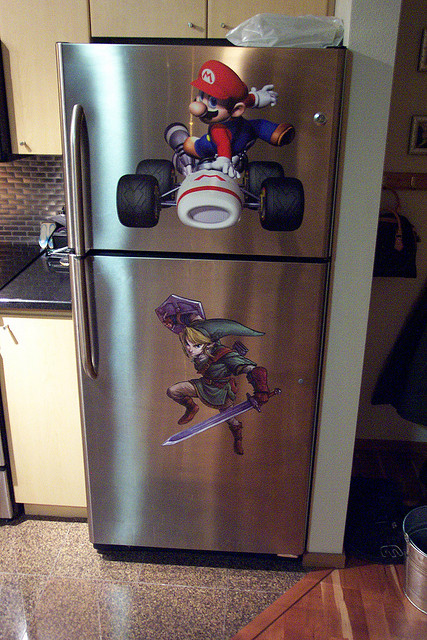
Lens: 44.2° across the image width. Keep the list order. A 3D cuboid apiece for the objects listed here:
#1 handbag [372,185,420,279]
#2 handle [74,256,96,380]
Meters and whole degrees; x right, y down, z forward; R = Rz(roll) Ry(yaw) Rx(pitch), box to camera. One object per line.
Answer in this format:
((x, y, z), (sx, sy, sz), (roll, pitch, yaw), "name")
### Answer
((0.767, -0.341, 2.133), (0.217, 0.378, 0.165), (7, 22, 7), "handbag")
((-0.361, -0.030, 1.456), (0.028, 0.377, 0.029), (-1, 5, 37), "handle")
